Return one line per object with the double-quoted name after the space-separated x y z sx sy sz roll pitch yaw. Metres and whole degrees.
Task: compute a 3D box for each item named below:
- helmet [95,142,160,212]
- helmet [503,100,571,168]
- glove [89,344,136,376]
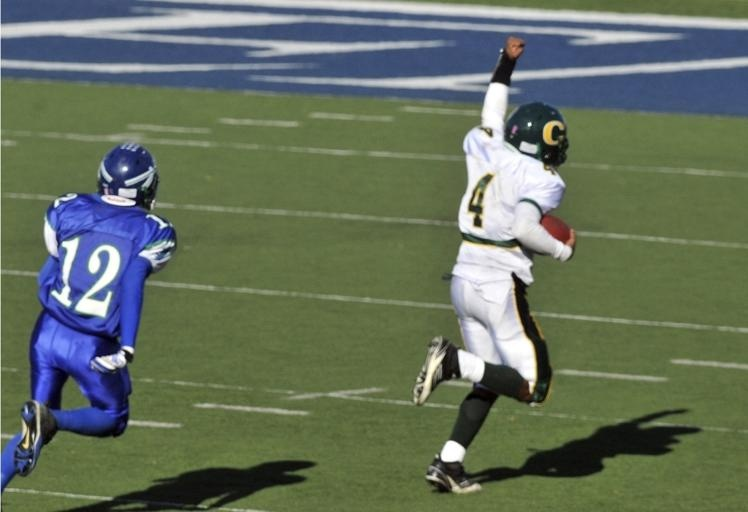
-2.132 -0.753 15.029 0.515 0.505 0.594 15 26 1 "helmet"
1.441 -1.170 15.484 0.709 0.529 0.485 19 10 -17 "helmet"
-2.268 0.898 14.511 0.399 0.160 0.191 -15 -31 19 "glove"
